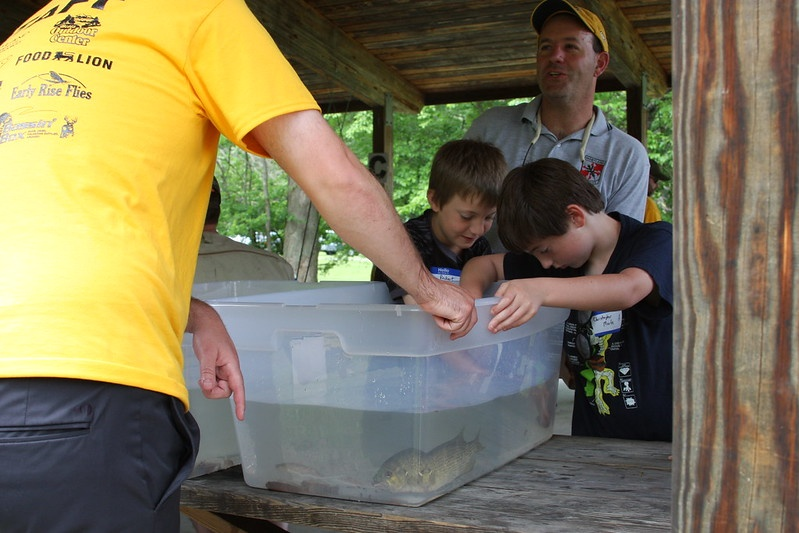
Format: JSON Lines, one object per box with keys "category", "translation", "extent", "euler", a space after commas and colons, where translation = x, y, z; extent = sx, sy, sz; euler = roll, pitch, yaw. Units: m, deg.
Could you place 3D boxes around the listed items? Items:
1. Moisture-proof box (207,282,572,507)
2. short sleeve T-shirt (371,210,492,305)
{"category": "Moisture-proof box", "translation": [0.031, 0.339, 1.838], "extent": [0.654, 0.428, 0.904], "euler": [-4, -4, 32]}
{"category": "short sleeve T-shirt", "translation": [0.143, 0.007, 2.577], "extent": [0.388, 0.384, 0.162], "euler": [5, 10, -34]}
